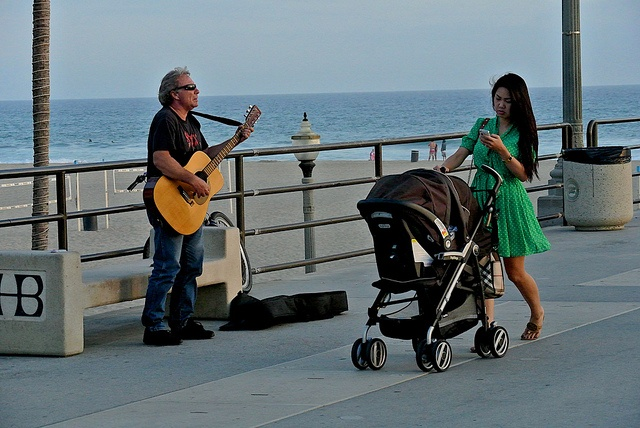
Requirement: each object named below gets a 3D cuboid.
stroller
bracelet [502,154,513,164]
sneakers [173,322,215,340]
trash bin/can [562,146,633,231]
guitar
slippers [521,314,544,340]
[{"bbox_3d":[0.850,0.410,7.232,1.275,1.492,0.544,-8,12,-29],"label":"stroller"},{"bbox_3d":[1.471,-0.432,7.505,0.064,0.019,0.065,-25,6,41],"label":"bracelet"},{"bbox_3d":[-1.085,1.003,8.221,0.413,0.130,0.119,0,2,-6],"label":"sneakers"},{"bbox_3d":[3.753,-0.338,13.006,0.909,1.151,0.376,-1,11,11],"label":"trash bin/can"},{"bbox_3d":[-1.038,-0.291,8.230,0.448,0.917,1.053,4,12,32],"label":"guitar"},{"bbox_3d":[1.756,0.935,7.918,0.108,0.068,0.284,4,27,35],"label":"slippers"}]
